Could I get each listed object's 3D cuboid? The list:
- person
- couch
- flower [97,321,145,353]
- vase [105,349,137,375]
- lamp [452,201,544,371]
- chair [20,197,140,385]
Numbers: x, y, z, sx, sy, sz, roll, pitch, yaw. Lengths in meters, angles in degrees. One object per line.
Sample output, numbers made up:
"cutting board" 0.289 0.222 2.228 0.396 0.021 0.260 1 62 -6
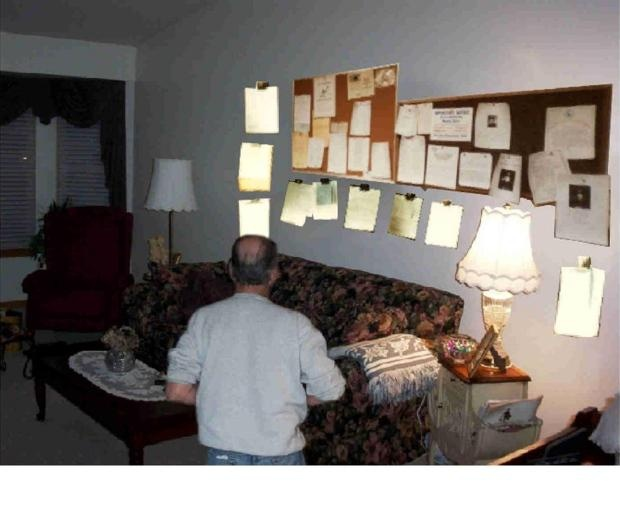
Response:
"person" -0.177 0.325 1.551 0.573 0.777 0.195 1 4 3
"couch" -0.233 0.616 3.313 0.950 1.185 2.786 7 1 -32
"flower" -1.170 0.545 2.948 0.217 0.146 0.203 12 16 -42
"vase" -1.157 0.638 2.899 0.135 0.146 0.144 1 -3 -3
"lamp" 0.868 0.146 2.194 0.331 0.753 0.292 -2 5 -32
"chair" -2.127 0.280 4.399 0.925 1.492 0.923 2 3 -29
